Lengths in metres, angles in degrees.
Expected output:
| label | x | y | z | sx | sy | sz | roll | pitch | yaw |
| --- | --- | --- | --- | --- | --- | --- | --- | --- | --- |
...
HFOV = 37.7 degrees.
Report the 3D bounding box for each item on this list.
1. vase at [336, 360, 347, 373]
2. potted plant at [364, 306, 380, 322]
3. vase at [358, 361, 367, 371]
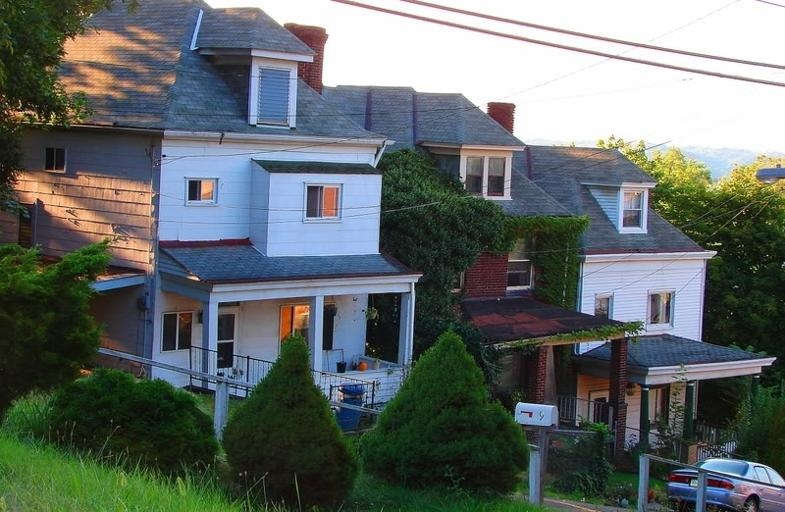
| label | x | y | z | sx | sy | sz | roll | pitch | yaw |
| --- | --- | --- | --- | --- | --- | --- | --- | --- | --- |
| vase | -1.688 | 3.751 | 38.697 | 0.332 | 0.255 | 0.338 | 2 | -8 | 7 |
| potted plant | -0.678 | 2.007 | 39.704 | 0.500 | 0.387 | 0.472 | 3 | -10 | -11 |
| vase | -0.945 | 3.710 | 38.599 | 0.280 | 0.244 | 0.283 | 2 | 3 | 44 |
